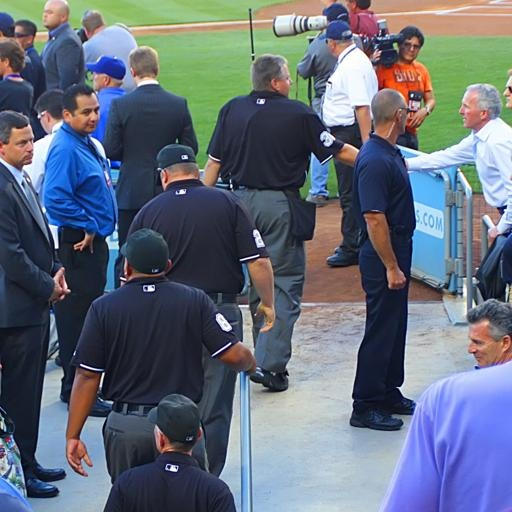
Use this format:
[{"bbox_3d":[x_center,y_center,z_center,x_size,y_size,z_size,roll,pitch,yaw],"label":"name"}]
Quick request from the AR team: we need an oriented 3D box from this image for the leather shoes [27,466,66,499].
[{"bbox_3d":[-1.145,1.236,5.548,0.166,0.050,0.157,0,17,3],"label":"leather shoes"}]

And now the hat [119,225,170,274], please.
[{"bbox_3d":[-0.501,-0.018,4.581,0.204,0.185,0.170,-2,11,-8],"label":"hat"}]

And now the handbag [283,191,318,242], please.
[{"bbox_3d":[0.264,-0.250,6.699,0.222,0.337,0.250,6,-9,-23],"label":"handbag"}]

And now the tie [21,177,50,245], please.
[{"bbox_3d":[-1.218,-0.266,5.634,0.127,0.367,0.218,-3,12,-12],"label":"tie"}]

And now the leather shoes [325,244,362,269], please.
[{"bbox_3d":[0.790,0.018,9.521,0.371,0.160,0.134,0,3,-1],"label":"leather shoes"}]

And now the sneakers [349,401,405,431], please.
[{"bbox_3d":[0.709,0.962,6.118,0.286,0.109,0.134,2,8,12],"label":"sneakers"}]

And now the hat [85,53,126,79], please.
[{"bbox_3d":[-1.243,-1.540,8.217,0.314,0.147,0.201,14,19,5],"label":"hat"}]

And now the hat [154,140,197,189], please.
[{"bbox_3d":[-0.394,-0.503,5.416,0.206,0.136,0.265,-8,-10,-6],"label":"hat"}]
